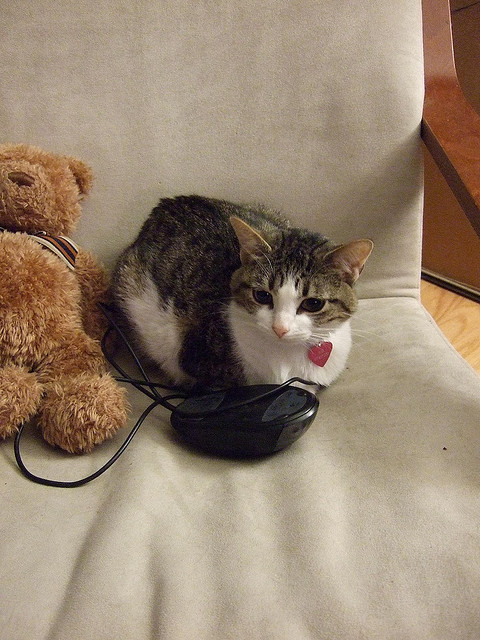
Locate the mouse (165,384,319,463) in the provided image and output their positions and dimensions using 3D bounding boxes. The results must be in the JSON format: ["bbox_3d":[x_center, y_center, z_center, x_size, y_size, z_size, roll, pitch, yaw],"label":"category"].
[{"bbox_3d":[-0.003,0.118,0.821,0.151,0.048,0.107,1,9,25],"label":"mouse"}]

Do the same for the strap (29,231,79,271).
[{"bbox_3d":[-0.277,-0.105,0.973,0.020,0.061,0.057,-44,56,9],"label":"strap"}]
